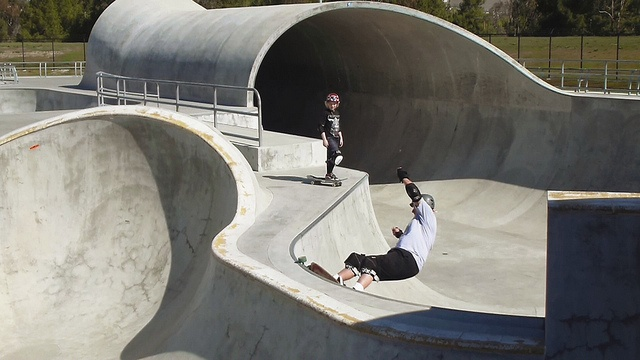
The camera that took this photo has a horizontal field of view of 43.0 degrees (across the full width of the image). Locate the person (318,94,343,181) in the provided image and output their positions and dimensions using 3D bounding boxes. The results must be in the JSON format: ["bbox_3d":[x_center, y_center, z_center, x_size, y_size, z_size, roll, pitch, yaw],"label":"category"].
[{"bbox_3d":[0.281,-1.169,22.124,0.574,2.333,0.596,1,10,6],"label":"person"}]
